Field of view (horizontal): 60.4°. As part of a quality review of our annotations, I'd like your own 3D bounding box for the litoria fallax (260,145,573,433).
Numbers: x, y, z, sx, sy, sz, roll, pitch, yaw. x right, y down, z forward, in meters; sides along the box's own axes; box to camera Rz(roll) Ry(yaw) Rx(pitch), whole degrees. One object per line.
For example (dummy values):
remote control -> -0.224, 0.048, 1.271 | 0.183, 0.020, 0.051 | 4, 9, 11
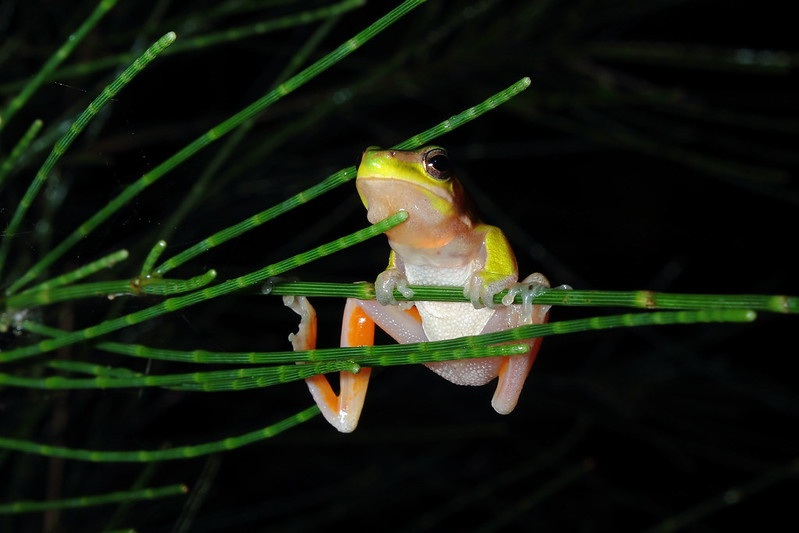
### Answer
litoria fallax -> 0.043, 0.055, 1.702 | 0.699, 0.602, 0.624 | -2, -3, 9
